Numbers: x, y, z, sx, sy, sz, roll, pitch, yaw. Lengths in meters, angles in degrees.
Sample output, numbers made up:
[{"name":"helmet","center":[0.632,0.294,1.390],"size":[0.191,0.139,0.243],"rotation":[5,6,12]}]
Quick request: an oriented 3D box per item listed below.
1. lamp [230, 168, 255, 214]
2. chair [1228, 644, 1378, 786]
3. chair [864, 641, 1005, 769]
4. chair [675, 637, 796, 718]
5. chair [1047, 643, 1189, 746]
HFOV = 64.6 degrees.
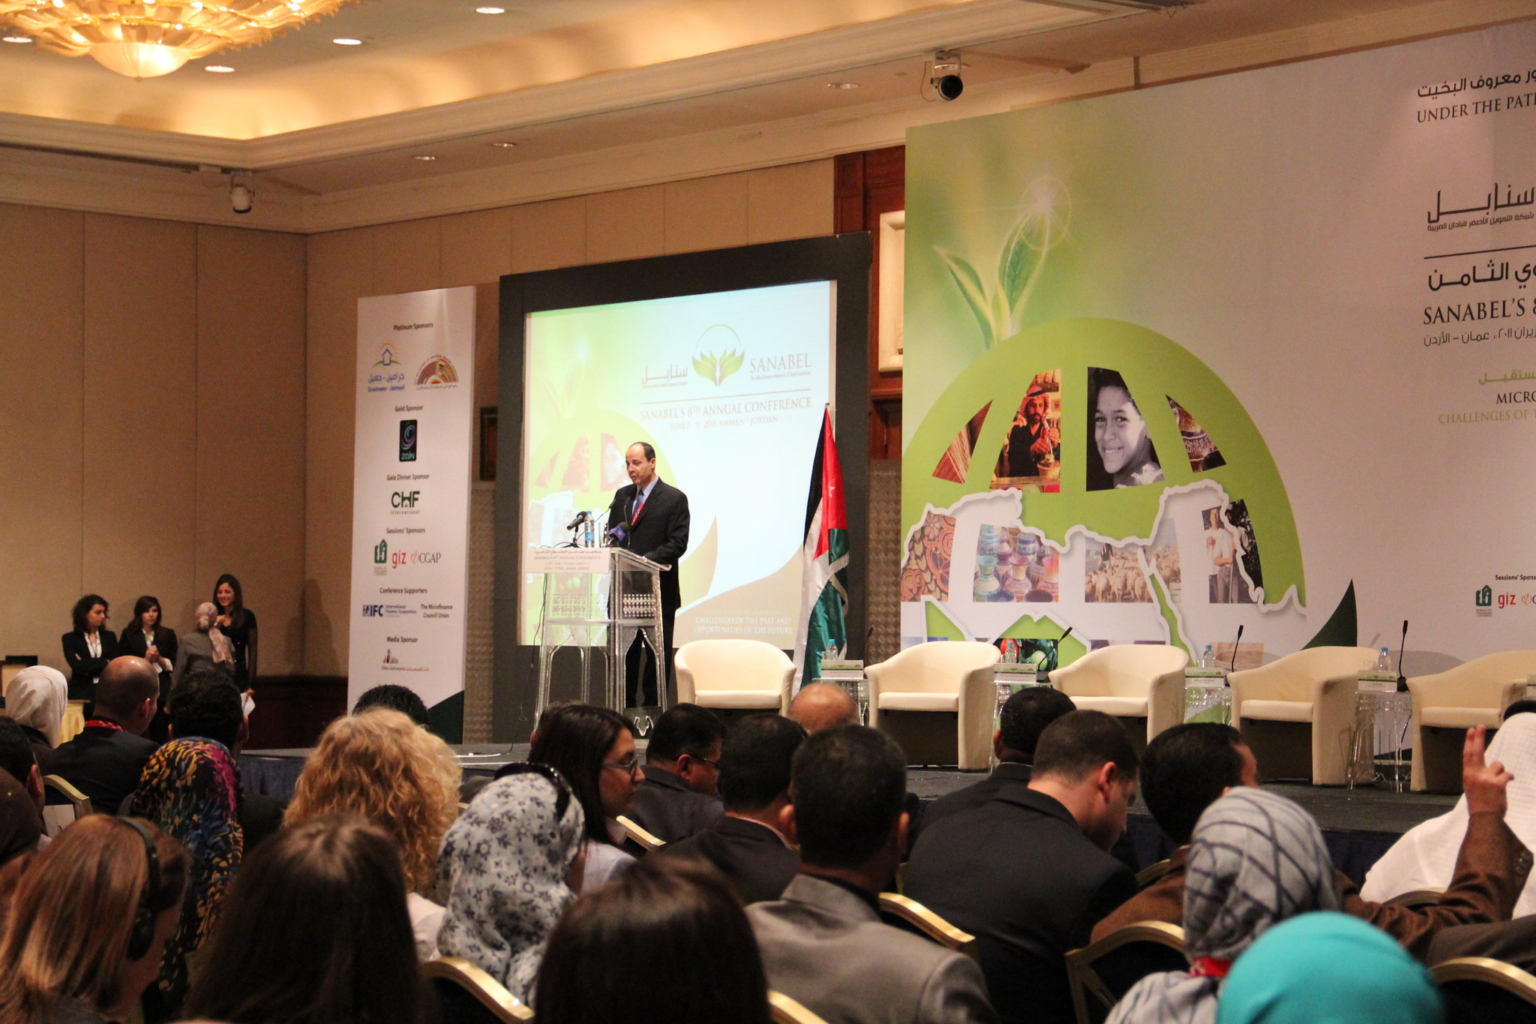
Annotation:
[{"name":"lamp","center":[-5.351,-3.297,12.402],"size":[0.306,0.450,0.255],"rotation":[2,-31,-17]},{"name":"chair","center":[3.101,1.160,7.022],"size":[0.672,0.762,0.648],"rotation":[4,-7,-17]},{"name":"chair","center":[1.105,1.270,7.941],"size":[0.767,0.848,0.742],"rotation":[-5,-9,27]},{"name":"chair","center":[-0.246,1.229,8.459],"size":[0.810,0.733,0.678],"rotation":[1,-10,-9]},{"name":"chair","center":[2.227,1.223,7.551],"size":[0.678,0.784,0.710],"rotation":[-4,-5,30]}]
